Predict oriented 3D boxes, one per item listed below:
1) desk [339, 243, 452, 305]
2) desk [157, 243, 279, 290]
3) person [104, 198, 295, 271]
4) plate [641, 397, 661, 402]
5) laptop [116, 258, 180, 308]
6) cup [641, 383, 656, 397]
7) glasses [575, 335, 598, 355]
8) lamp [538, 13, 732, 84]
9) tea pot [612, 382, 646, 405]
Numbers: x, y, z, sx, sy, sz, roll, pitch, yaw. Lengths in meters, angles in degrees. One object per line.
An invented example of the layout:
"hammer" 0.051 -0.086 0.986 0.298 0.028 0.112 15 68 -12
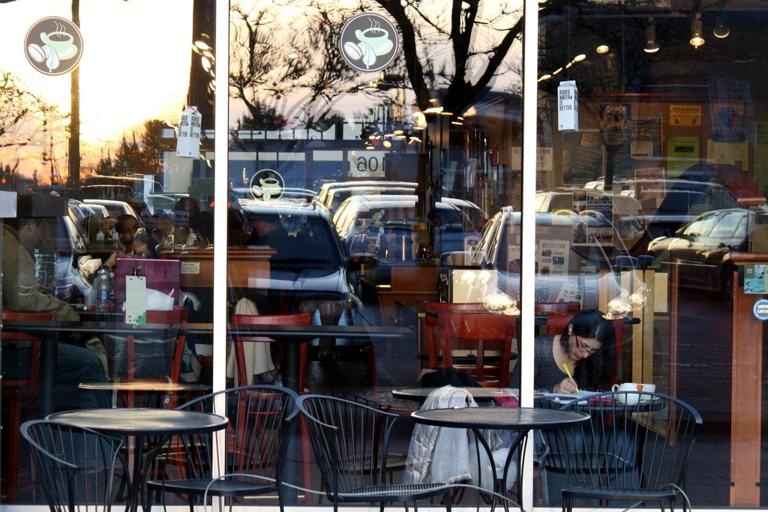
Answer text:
"desk" 0.086 0.173 11.865 0.612 0.422 0.307 2 -9 -3
"desk" -1.029 0.075 10.572 0.491 0.329 1.828 0 -2 15
"person" -1.340 -0.151 9.866 0.755 0.403 0.462 1 2 -1
"plate" 1.754 0.928 9.602 0.106 0.028 0.078 0 3 7
"laptop" -1.584 0.109 9.797 0.500 0.373 0.282 1 2 1
"cup" 1.766 0.874 9.742 0.117 0.098 0.115 -1 1 0
"glasses" 1.366 0.592 9.759 0.117 0.134 0.038 2 0 -8
"lamp" 1.696 -1.382 9.887 0.869 0.346 0.180 -11 31 4
"tea pot" 1.624 0.903 9.664 0.201 0.148 0.161 0 -1 -6
